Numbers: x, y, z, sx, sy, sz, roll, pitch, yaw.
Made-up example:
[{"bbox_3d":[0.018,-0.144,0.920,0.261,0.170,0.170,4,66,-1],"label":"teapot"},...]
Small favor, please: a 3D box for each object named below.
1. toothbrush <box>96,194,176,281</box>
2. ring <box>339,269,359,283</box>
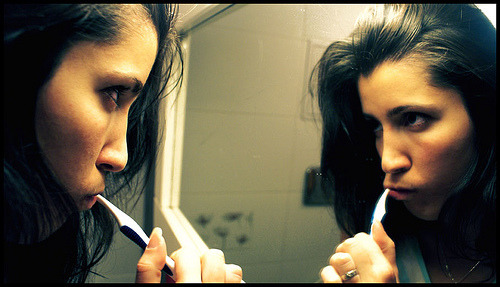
[{"bbox_3d":[-0.326,0.266,1.125,0.032,0.395,0.054,-53,-7,-22],"label":"toothbrush"},{"bbox_3d":[0.263,0.349,1.080,0.037,0.009,0.037,-26,-6,-3],"label":"ring"}]
